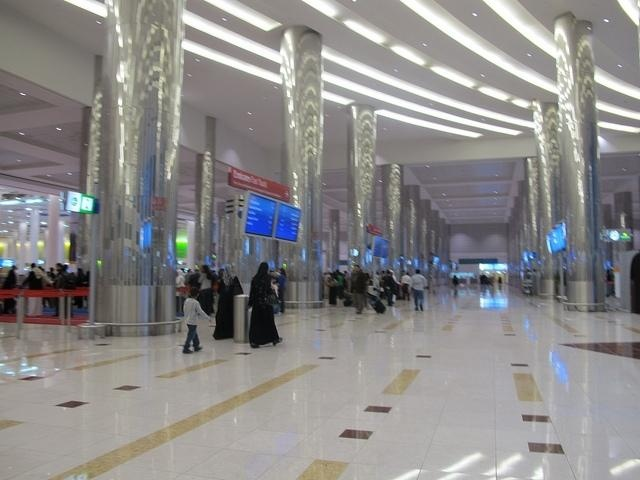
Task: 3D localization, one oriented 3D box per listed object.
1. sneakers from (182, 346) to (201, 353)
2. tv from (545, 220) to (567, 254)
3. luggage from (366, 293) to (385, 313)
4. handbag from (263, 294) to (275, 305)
[{"bbox_3d":[-2.114,1.821,7.863,0.321,0.148,0.111,1,1,-30],"label":"sneakers"},{"bbox_3d":[8.423,-0.114,16.877,0.162,1.109,1.668,5,9,45],"label":"tv"},{"bbox_3d":[1.818,2.143,16.039,0.396,0.310,0.744,22,10,-17],"label":"luggage"},{"bbox_3d":[-0.882,1.033,8.387,0.208,0.261,0.123,3,5,0],"label":"handbag"}]
